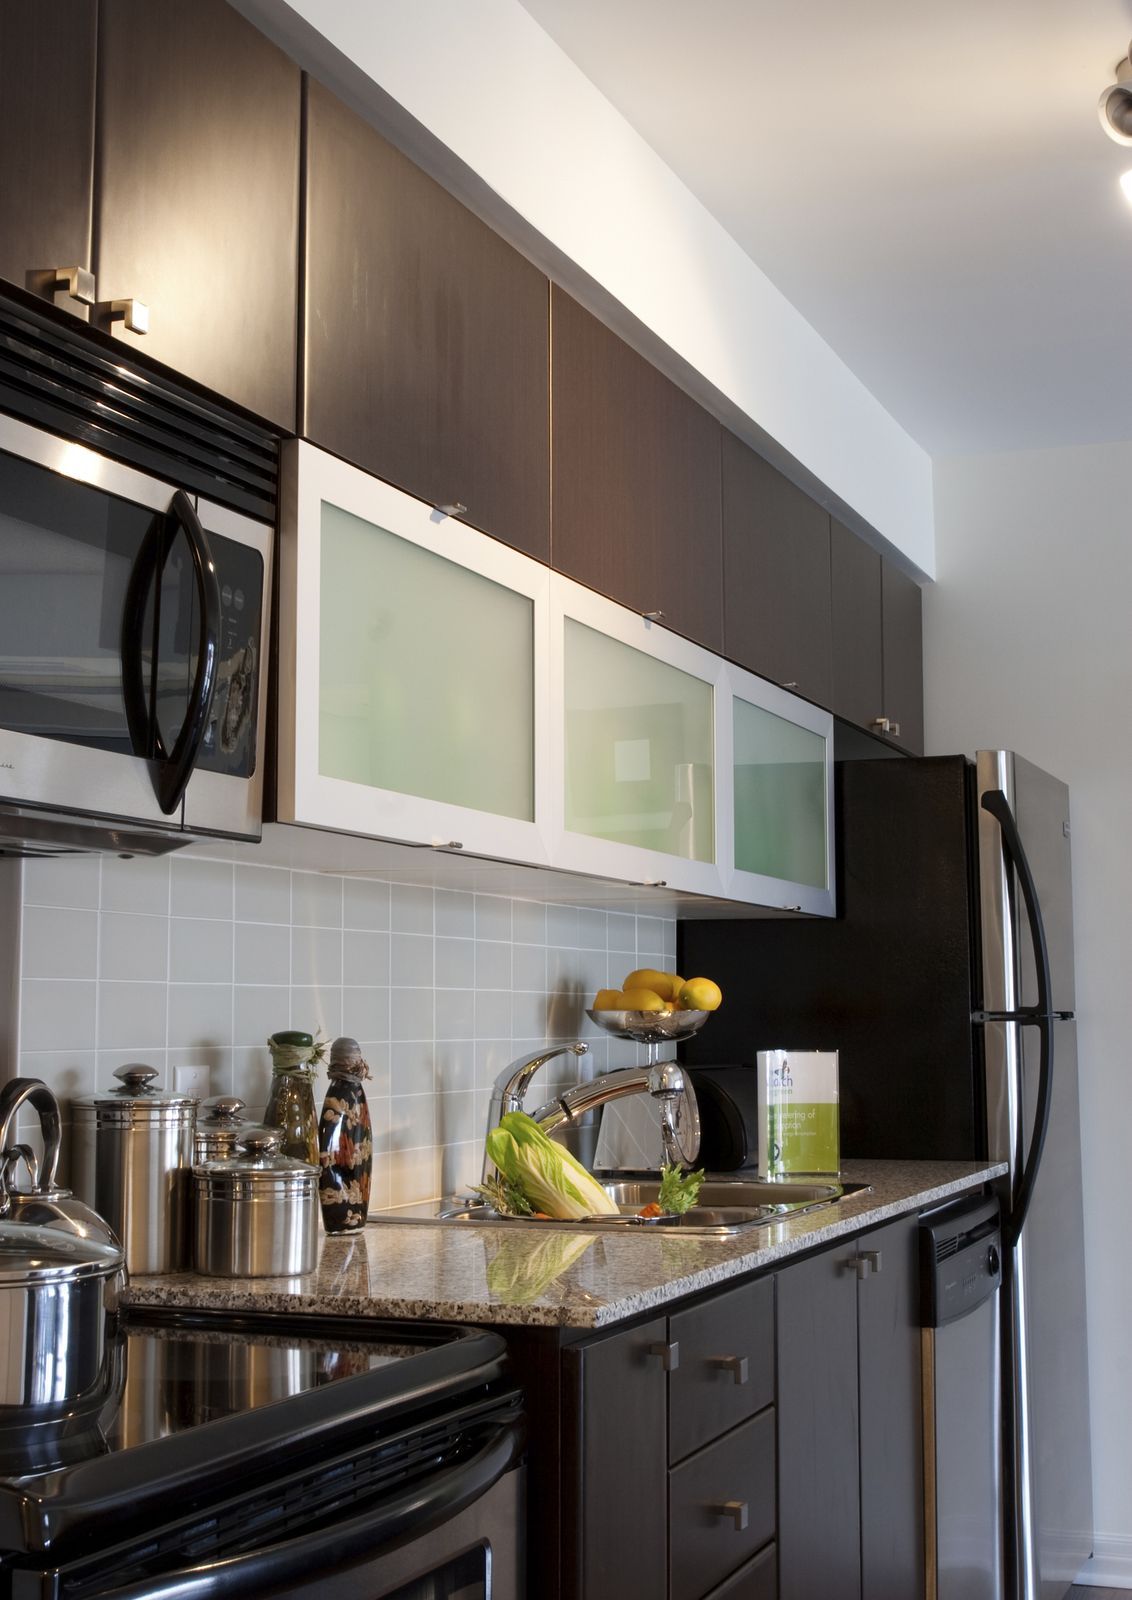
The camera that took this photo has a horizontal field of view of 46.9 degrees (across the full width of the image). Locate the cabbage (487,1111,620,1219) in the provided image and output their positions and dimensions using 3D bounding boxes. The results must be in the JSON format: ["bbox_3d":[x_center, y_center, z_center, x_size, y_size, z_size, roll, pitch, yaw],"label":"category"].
[{"bbox_3d":[-0.032,0.568,1.948,0.184,0.132,0.078,26,-44,-5],"label":"cabbage"}]

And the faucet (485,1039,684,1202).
[{"bbox_3d":[0.061,0.512,2.182,0.433,0.335,0.176,-1,-2,19],"label":"faucet"}]

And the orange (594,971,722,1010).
[{"bbox_3d":[0.163,0.373,2.551,0.241,0.080,0.174,1,-8,-10],"label":"orange"}]

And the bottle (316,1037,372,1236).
[{"bbox_3d":[-0.296,0.442,1.724,0.062,0.246,0.095,-6,-11,28],"label":"bottle"}]

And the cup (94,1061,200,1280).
[{"bbox_3d":[-0.460,0.382,1.404,0.095,0.198,0.101,0,1,0],"label":"cup"}]
